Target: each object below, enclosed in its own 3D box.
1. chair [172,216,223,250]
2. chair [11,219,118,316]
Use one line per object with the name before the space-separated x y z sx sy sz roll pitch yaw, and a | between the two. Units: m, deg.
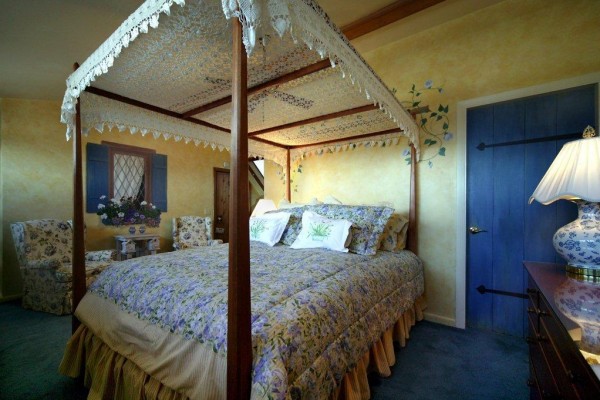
chair | -1.864 0.607 7.632 0.701 0.737 0.831 3 5 -20
chair | -3.375 0.903 6.170 1.014 1.331 1.001 -3 -3 31
